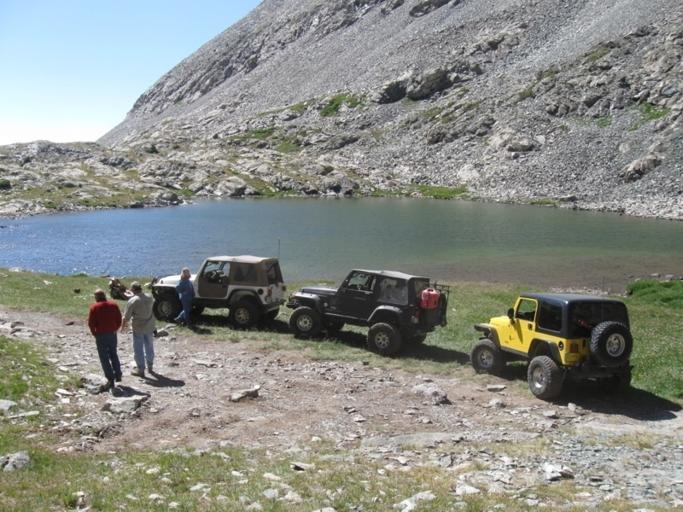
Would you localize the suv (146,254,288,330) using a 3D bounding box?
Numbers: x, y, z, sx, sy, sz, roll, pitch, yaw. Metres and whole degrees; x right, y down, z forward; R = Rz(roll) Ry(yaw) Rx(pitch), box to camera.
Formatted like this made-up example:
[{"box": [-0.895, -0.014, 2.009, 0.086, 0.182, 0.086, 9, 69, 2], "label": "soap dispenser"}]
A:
[{"box": [-6.572, 1.706, 35.293, 7.101, 3.657, 3.566, 4, 9, 13], "label": "suv"}]

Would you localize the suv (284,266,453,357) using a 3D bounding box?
[{"box": [1.447, 2.372, 32.089, 7.114, 3.194, 3.816, 8, 6, 27], "label": "suv"}]

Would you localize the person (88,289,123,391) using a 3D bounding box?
[{"box": [-9.121, 3.121, 25.038, 1.010, 3.666, 0.792, 1, 4, 8], "label": "person"}]

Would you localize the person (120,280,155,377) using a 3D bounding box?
[{"box": [-8.208, 2.913, 26.285, 1.146, 3.752, 1.103, 0, 4, -16], "label": "person"}]

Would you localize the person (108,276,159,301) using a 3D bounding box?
[{"box": [-11.927, 1.832, 36.784, 2.425, 1.293, 1.072, 11, 8, 21], "label": "person"}]

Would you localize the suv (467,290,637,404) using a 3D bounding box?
[{"box": [8.429, 3.244, 27.052, 3.920, 2.787, 5.614, 0, 8, -24], "label": "suv"}]
